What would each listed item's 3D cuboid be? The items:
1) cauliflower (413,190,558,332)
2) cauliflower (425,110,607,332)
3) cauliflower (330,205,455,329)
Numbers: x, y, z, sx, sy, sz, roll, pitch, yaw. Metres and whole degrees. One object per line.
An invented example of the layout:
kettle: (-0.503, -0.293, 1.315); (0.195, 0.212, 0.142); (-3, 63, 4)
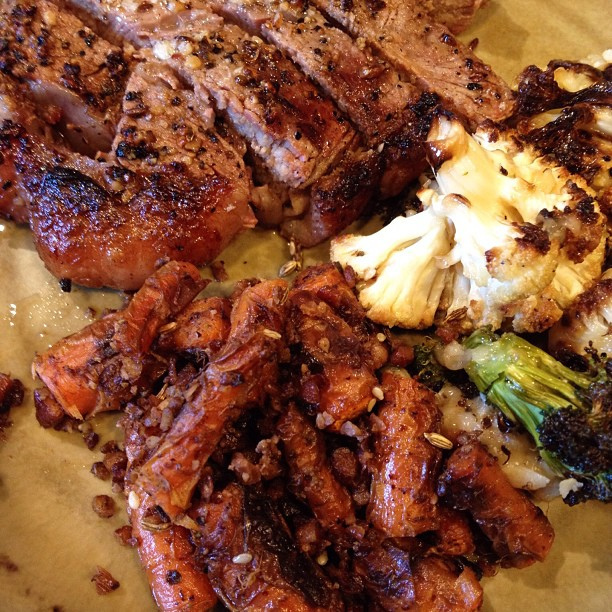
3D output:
cauliflower: (0.802, -0.258, 3.528); (0.768, 0.613, 0.452); (-6, 28, -1)
cauliflower: (1.006, -0.420, 3.747); (1.166, 1.000, 0.684); (-5, 28, -4)
cauliflower: (0.529, -0.218, 3.828); (0.825, 0.565, 0.521); (9, 36, 29)
